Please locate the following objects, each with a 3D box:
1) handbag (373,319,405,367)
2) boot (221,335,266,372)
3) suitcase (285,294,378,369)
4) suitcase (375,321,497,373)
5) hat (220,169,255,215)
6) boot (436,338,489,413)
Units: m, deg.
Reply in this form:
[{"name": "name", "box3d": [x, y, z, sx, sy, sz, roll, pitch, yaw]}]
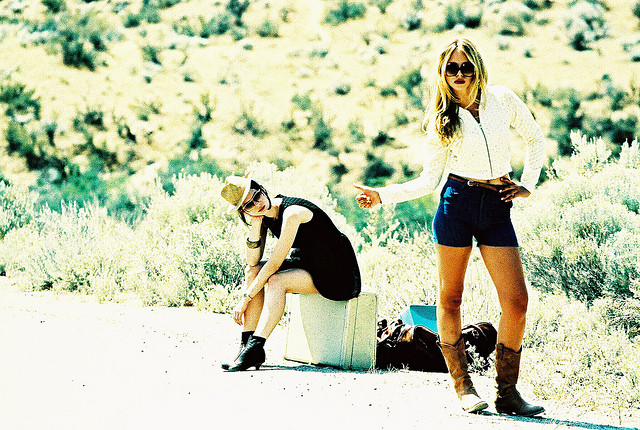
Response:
[{"name": "handbag", "box3d": [0.799, 1.538, 8.545, 0.174, 0.514, 0.375, 20, -14, -41]}, {"name": "boot", "box3d": [-0.883, 1.573, 8.141, 0.607, 0.521, 0.250, 0, -5, -3]}, {"name": "suitcase", "box3d": [0.122, 1.373, 8.587, 0.969, 0.918, 0.579, -1, -8, 44]}, {"name": "suitcase", "box3d": [1.249, 1.588, 8.264, 0.710, 0.371, 0.946, 1, -2, -22]}, {"name": "hat", "box3d": [-1.004, -0.245, 8.296, 0.176, 0.414, 0.445, 25, -21, -16]}, {"name": "boot", "box3d": [1.449, 1.622, 7.195, 0.233, 0.665, 0.508, -6, 11, -29]}]
